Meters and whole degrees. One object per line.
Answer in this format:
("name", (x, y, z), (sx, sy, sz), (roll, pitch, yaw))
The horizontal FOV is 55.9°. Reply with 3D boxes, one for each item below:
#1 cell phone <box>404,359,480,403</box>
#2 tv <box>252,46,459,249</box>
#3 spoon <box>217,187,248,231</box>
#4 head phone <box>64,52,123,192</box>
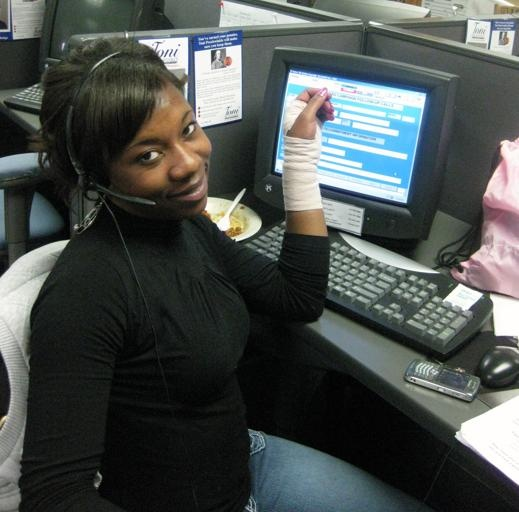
("cell phone", (0.288, 0.193, 0.766), (0.095, 0.017, 0.049), (12, 29, 21))
("tv", (0.248, -0.296, 1.195), (0.443, 0.388, 0.236), (21, 43, 24))
("spoon", (-0.066, -0.135, 1.264), (0.035, 0.022, 0.210), (25, 36, -6))
("head phone", (-0.202, -0.169, 0.614), (0.041, 0.168, 0.089), (18, 27, 29))
